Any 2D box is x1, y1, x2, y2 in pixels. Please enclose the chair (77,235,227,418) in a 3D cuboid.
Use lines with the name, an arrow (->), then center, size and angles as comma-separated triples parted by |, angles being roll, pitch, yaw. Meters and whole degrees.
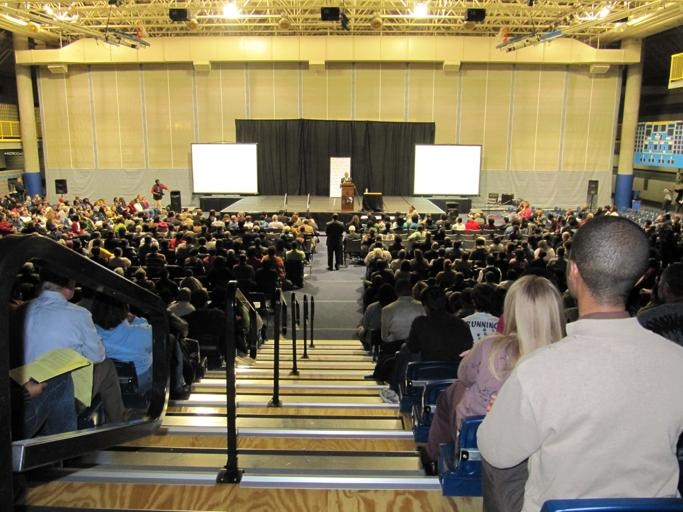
chair -> -1.503, 0.721, 4.434 | 1.046, 1.299, 0.497 | 3, 12, 6
